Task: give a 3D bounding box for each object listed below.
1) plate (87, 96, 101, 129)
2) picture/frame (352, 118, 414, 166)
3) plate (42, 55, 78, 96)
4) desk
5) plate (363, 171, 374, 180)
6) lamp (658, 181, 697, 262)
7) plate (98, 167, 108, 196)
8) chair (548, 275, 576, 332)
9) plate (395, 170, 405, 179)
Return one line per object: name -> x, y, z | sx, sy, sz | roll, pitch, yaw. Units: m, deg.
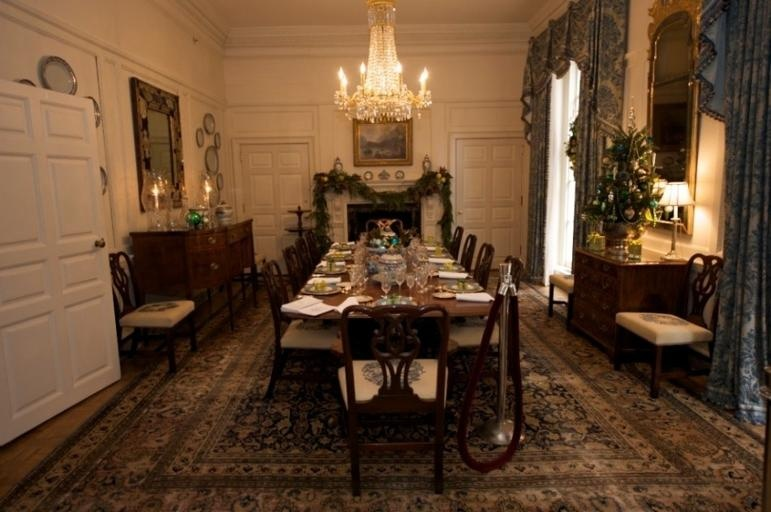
plate -> -3.107, -1.548, 5.740 | 0.115, 0.338, 0.304 | -6, 9, -25
picture/frame -> -0.042, -1.995, 9.193 | 0.748, 0.583, 0.053 | 0, 4, -2
plate -> -3.286, -1.833, 5.417 | 0.066, 0.346, 0.431 | 0, 9, 17
desk -> 2.744, 0.415, 6.227 | 0.937, 1.388, 1.446 | 0, 8, -4
plate -> -0.292, -1.382, 9.265 | 0.171, 0.157, 0.061 | -3, 8, -4
lamp -> 3.072, -0.385, 5.674 | 0.316, 0.798, 0.479 | 3, 10, 30
plate -> -3.085, -0.834, 5.888 | 0.051, 0.304, 0.202 | -5, 9, -17
chair -> 2.256, 0.596, 6.901 | 0.485, 0.686, 0.651 | 2, 6, 18
plate -> 0.243, -1.406, 9.271 | 0.132, 0.137, 0.032 | 2, -3, 1
